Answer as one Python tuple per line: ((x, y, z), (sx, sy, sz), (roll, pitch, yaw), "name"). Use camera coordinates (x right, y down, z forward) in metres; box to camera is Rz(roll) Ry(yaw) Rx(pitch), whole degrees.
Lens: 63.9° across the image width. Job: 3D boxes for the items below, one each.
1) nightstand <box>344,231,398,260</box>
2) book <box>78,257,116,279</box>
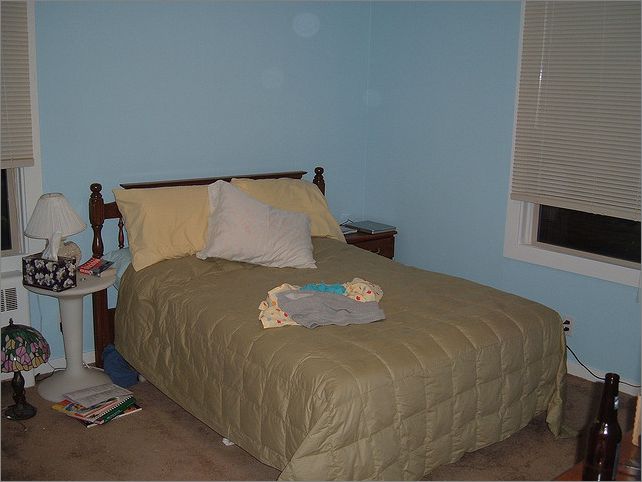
((0.464, 0.014, 4.418), (0.404, 0.250, 0.240), (-12, 20, -38), "nightstand")
((-1.463, 0.167, 3.336), (0.144, 0.033, 0.141), (8, 19, 12), "book")
